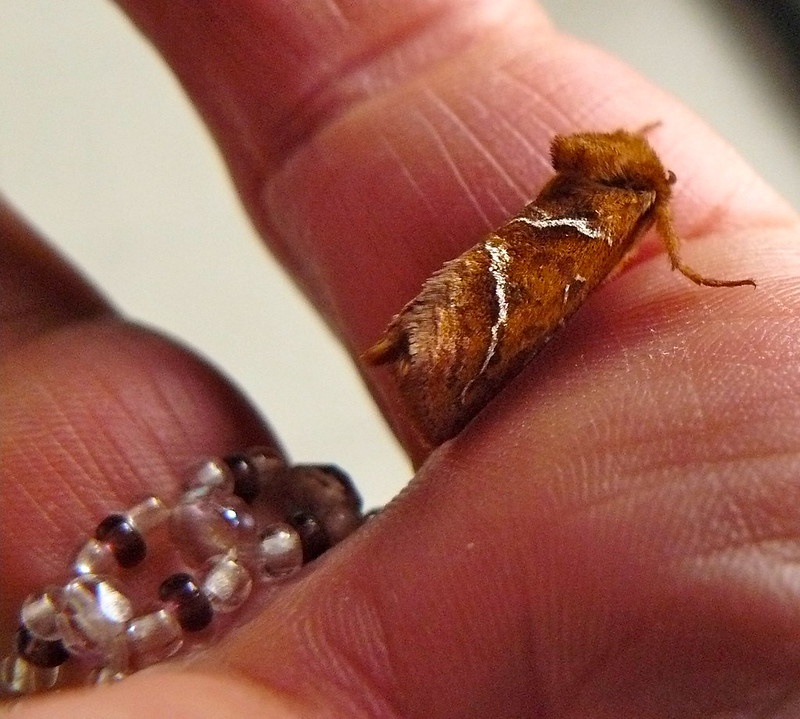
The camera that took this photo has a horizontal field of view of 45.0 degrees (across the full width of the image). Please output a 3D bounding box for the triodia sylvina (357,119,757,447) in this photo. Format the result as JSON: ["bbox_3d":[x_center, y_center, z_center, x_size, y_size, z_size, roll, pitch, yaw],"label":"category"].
[{"bbox_3d":[0.108,-0.055,0.687,0.278,0.167,0.103,-41,-15,-5],"label":"triodia sylvina"}]
